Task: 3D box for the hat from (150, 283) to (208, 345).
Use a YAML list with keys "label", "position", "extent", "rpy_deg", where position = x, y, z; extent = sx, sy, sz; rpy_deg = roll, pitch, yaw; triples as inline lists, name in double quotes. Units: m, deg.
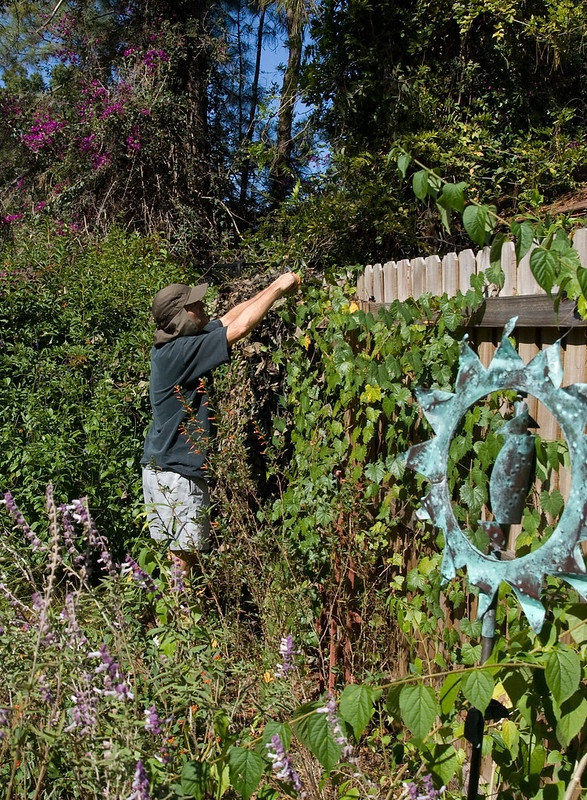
- label: "hat"
  position: [-0.489, -0.393, 3.236]
  extent: [0.281, 0.170, 0.203]
  rpy_deg: [-46, 20, 1]
